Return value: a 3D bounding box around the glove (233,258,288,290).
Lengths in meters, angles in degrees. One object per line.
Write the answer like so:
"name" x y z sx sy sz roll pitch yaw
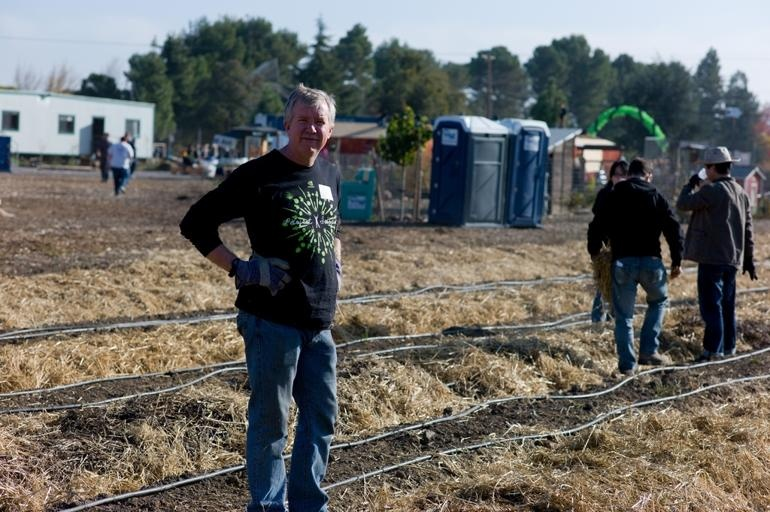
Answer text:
"glove" -1.350 0.151 12.235 0.486 0.176 0.330 -19 21 29

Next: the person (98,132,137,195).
"person" -3.892 -1.314 17.067 0.477 0.934 0.628 1 6 -14

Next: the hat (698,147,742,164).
"hat" 4.430 -1.342 15.896 0.305 0.133 0.362 -4 8 -9

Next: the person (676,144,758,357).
"person" 4.451 -0.058 15.988 1.089 2.821 0.628 3 5 0

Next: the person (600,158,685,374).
"person" 3.311 0.142 15.470 1.095 2.780 0.578 4 5 10

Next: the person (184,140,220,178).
"person" -2.867 -1.505 18.184 0.863 0.319 0.254 -11 21 -35

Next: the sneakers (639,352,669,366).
"sneakers" 3.547 1.344 15.650 0.413 0.205 0.160 -6 10 -11
